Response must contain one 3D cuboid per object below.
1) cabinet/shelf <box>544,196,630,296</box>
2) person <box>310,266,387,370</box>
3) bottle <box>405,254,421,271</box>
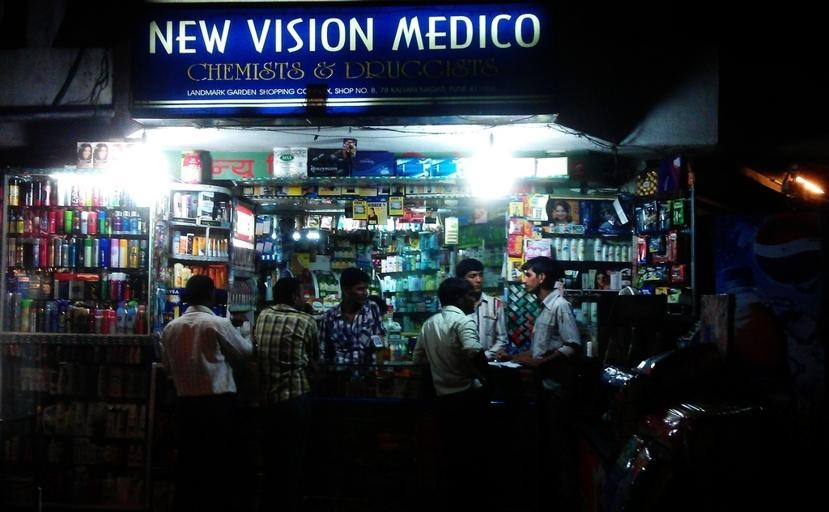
[{"bbox_3d":[2.296,-0.124,10.353,1.435,1.279,0.469,0,0,0],"label":"cabinet/shelf"},{"bbox_3d":[-0.715,0.751,8.751,0.846,1.130,0.709,-2,-9,4],"label":"person"},{"bbox_3d":[-0.023,0.095,11.519,0.288,0.257,0.172,-1,-4,18],"label":"bottle"}]
